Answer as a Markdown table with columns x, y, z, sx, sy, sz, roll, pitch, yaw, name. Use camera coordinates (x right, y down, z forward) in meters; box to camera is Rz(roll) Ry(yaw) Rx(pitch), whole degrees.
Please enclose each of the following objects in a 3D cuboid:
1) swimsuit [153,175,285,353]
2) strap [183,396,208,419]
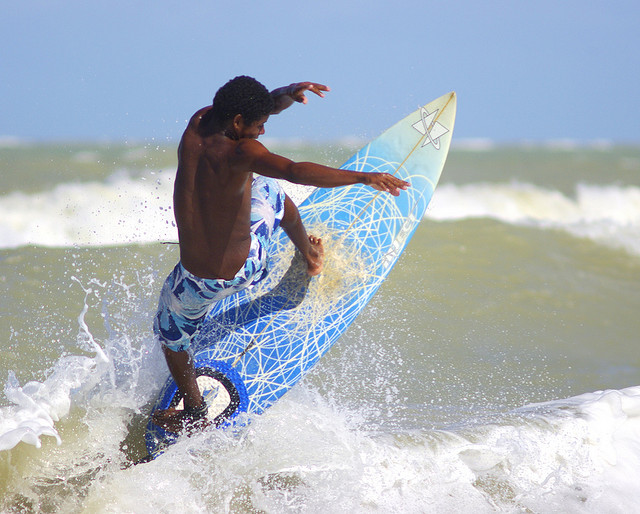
| x | y | z | sx | sy | sz | roll | pitch | yaw | name |
| --- | --- | --- | --- | --- | --- | --- | --- | --- | --- |
| -0.983 | 0.086 | 12.140 | 1.178 | 1.846 | 0.560 | -7 | 28 | -43 | swimsuit |
| -1.321 | 1.631 | 12.504 | 0.271 | 0.169 | 0.110 | 4 | 21 | -21 | strap |
